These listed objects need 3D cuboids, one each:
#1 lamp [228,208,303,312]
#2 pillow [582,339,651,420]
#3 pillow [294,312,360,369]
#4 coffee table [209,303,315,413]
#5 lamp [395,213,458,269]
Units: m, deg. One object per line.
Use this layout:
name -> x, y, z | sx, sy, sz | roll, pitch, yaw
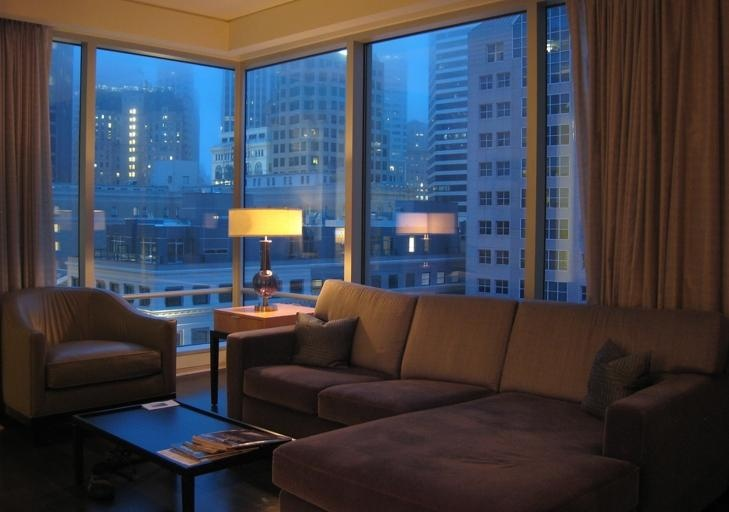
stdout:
lamp -> -0.935, 0.033, 6.035 | 0.661, 0.922, 0.642 | 0, -3, -39
pillow -> 1.583, 0.781, 3.968 | 0.296, 0.493, 0.517 | 2, 2, -10
pillow -> -0.368, 0.680, 5.205 | 0.531, 0.460, 0.203 | 5, -1, 20
coffee table -> -1.030, 0.865, 5.987 | 0.864, 1.102, 0.981 | 3, -4, -32
lamp -> 0.481, -0.146, 5.878 | 0.723, 0.493, 0.389 | -1, -1, -32
